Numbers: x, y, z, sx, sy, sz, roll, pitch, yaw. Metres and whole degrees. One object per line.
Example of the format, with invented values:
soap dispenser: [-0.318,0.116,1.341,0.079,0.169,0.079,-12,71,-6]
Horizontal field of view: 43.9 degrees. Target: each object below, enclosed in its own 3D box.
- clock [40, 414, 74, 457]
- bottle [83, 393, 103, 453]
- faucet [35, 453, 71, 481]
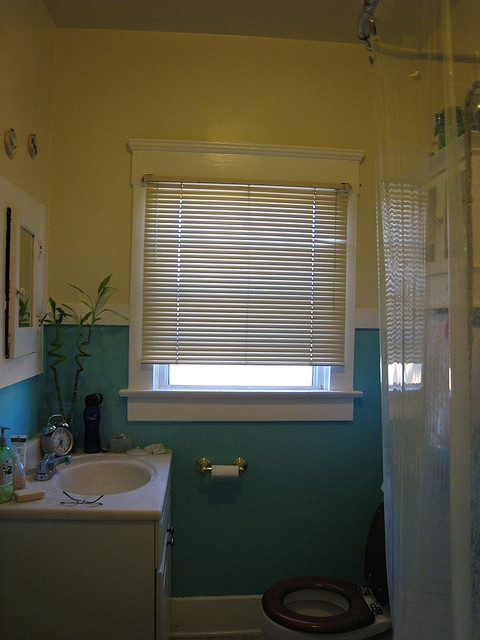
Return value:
clock: [-0.626,0.396,2.042,0.063,0.198,0.137,-9,-8,21]
bottle: [-0.546,0.380,2.216,0.072,0.204,0.069,-1,0,0]
faucet: [-0.620,0.469,1.982,0.063,0.075,0.201,-2,0,6]
